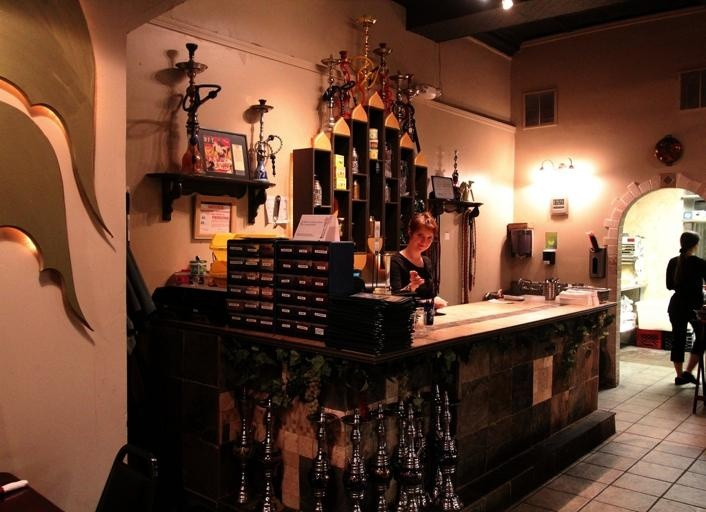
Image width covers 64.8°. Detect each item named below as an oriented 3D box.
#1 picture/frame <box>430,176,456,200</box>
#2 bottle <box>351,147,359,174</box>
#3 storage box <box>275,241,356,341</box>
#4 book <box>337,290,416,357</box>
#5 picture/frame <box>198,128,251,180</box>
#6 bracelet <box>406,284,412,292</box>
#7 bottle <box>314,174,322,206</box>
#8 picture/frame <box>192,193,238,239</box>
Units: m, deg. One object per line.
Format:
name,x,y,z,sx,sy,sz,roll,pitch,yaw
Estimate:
picture/frame,1.259,-0.925,7.665,0.194,0.329,0.528,7,7,39
bottle,0.037,-1.065,6.247,0.072,0.294,0.174,3,5,0
storage box,-0.285,0.234,3.894,0.585,0.686,0.323,3,5,2
book,0.131,0.431,3.657,0.430,0.210,0.359,7,9,42
picture/frame,-1.212,-0.970,5.286,0.127,0.423,0.520,8,8,44
bracelet,0.470,0.273,4.643,0.052,0.039,0.052,-1,1,10
bottle,-0.367,-0.685,5.839,0.095,0.328,0.226,3,5,-2
picture/frame,-1.327,-0.377,5.291,0.059,0.434,0.467,-1,-2,39
